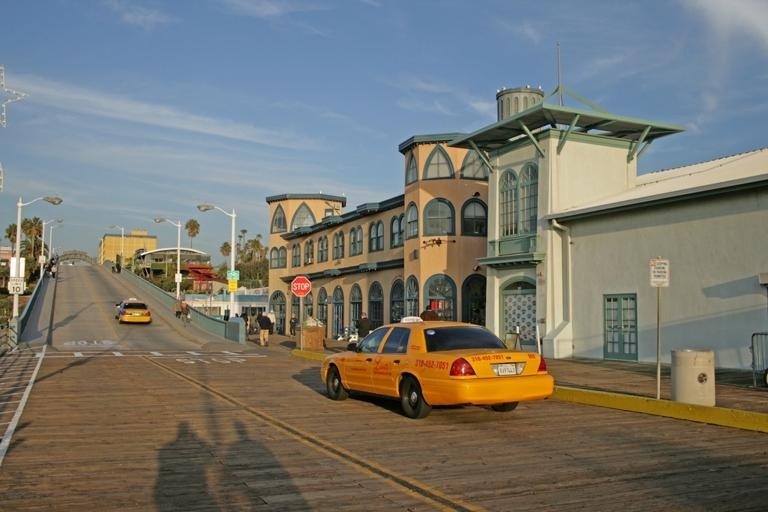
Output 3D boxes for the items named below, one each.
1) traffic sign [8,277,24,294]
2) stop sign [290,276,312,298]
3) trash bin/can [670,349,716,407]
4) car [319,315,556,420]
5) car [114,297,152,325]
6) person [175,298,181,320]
[{"bbox_3d":[-18.216,1.461,35.088,0.868,0.861,0.485,1,3,-44],"label":"traffic sign"},{"bbox_3d":[-3.599,1.275,30.525,0.564,0.818,0.895,0,-7,9],"label":"stop sign"},{"bbox_3d":[7.279,2.864,16.631,1.182,1.324,1.161,2,-8,-9],"label":"trash bin/can"},{"bbox_3d":[0.792,2.561,16.792,2.154,1.559,4.824,4,-5,-30],"label":"car"},{"bbox_3d":[-16.111,3.528,45.290,1.266,1.011,3.014,1,3,-26],"label":"car"},{"bbox_3d":[-13.557,3.503,46.747,0.402,1.155,1.724,3,-8,-16],"label":"person"}]
